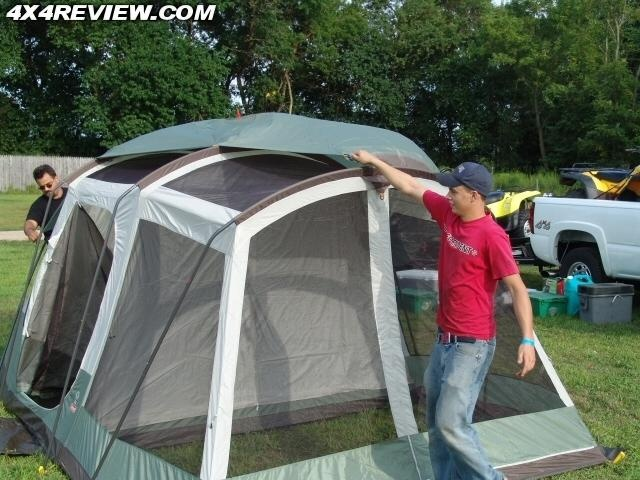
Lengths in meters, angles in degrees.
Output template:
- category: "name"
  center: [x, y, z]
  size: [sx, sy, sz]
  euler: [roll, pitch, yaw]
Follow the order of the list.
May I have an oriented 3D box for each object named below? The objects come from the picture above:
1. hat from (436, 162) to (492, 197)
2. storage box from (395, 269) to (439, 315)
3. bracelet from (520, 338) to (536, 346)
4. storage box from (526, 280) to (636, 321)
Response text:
- category: "hat"
  center: [1.082, -0.450, 4.818]
  size: [0.352, 0.189, 0.240]
  euler: [17, 19, -1]
- category: "storage box"
  center: [0.869, 0.461, 5.760]
  size: [0.291, 0.321, 0.424]
  euler: [1, 8, 1]
- category: "bracelet"
  center: [1.516, 0.747, 4.727]
  size: [0.087, 0.067, 0.106]
  euler: [1, 1, 15]
- category: "storage box"
  center: [3.890, 0.926, 9.277]
  size: [1.114, 0.423, 0.693]
  euler: [2, -1, -21]
